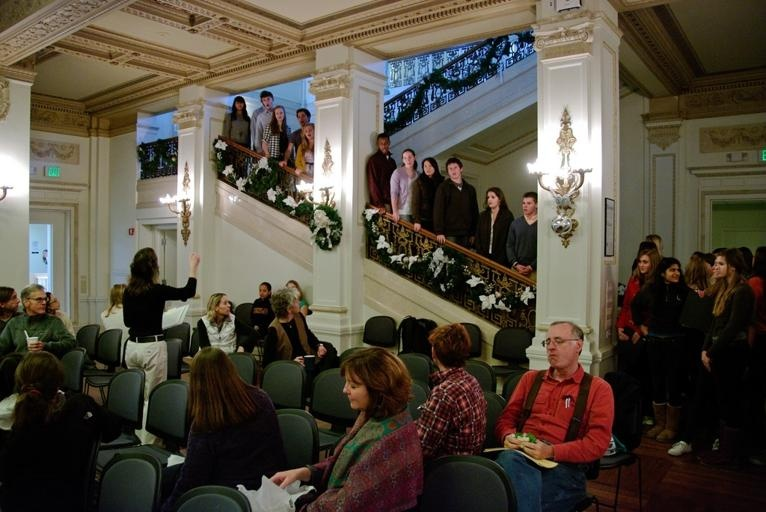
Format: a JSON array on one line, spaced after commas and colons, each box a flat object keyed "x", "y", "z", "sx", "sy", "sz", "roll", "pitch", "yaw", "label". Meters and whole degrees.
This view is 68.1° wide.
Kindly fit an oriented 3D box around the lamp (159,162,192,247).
[{"x": -3.687, "y": -0.958, "z": 10.246, "sx": 0.305, "sy": 1.505, "sz": 0.533, "roll": 3, "pitch": -2, "yaw": -38, "label": "lamp"}]

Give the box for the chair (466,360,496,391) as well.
[{"x": 0.964, "y": 1.147, "z": 5.541, "sx": 0.237, "sy": 0.327, "sz": 0.271, "roll": -3, "pitch": 3, "yaw": 9, "label": "chair"}]

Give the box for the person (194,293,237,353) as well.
[{"x": -2.145, "y": 0.909, "z": 7.363, "sx": 0.534, "sy": 0.846, "sz": 0.440, "roll": -5, "pitch": 7, "yaw": -37, "label": "person"}]

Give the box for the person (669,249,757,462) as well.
[{"x": 3.685, "y": 1.047, "z": 6.337, "sx": 0.730, "sy": 2.238, "sz": 1.011, "roll": 0, "pitch": -2, "yaw": 26, "label": "person"}]

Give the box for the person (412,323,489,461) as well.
[{"x": 0.472, "y": 0.971, "z": 4.062, "sx": 0.442, "sy": 0.929, "sz": 0.526, "roll": 0, "pitch": -2, "yaw": 24, "label": "person"}]

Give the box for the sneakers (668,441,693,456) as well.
[{"x": 3.239, "y": 2.093, "z": 6.205, "sx": 0.321, "sy": 0.134, "sz": 0.121, "roll": 1, "pitch": -14, "yaw": -33, "label": "sneakers"}]

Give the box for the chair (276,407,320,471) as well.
[{"x": -0.649, "y": 1.422, "z": 4.418, "sx": 0.345, "sy": 0.539, "sz": 0.414, "roll": -1, "pitch": -7, "yaw": 8, "label": "chair"}]

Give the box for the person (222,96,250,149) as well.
[{"x": -2.644, "y": -2.451, "z": 10.325, "sx": 0.618, "sy": 0.953, "sz": 0.448, "roll": 1, "pitch": -2, "yaw": 5, "label": "person"}]

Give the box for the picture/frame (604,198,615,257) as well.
[{"x": 2.684, "y": -0.338, "z": 6.751, "sx": 0.029, "sy": 0.825, "sz": 0.676, "roll": -1, "pitch": -1, "yaw": 32, "label": "picture/frame"}]

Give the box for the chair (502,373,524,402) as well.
[{"x": 1.155, "y": 1.196, "z": 5.180, "sx": 0.184, "sy": 0.267, "sz": 0.267, "roll": 1, "pitch": -10, "yaw": 4, "label": "chair"}]

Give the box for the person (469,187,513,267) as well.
[{"x": 1.510, "y": -0.408, "z": 7.768, "sx": 0.518, "sy": 1.056, "sz": 0.351, "roll": 1, "pitch": -2, "yaw": 14, "label": "person"}]

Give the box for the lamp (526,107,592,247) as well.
[{"x": 2.125, "y": -0.857, "z": 6.725, "sx": 0.637, "sy": 1.500, "sz": 0.155, "roll": 0, "pitch": -2, "yaw": 30, "label": "lamp"}]
